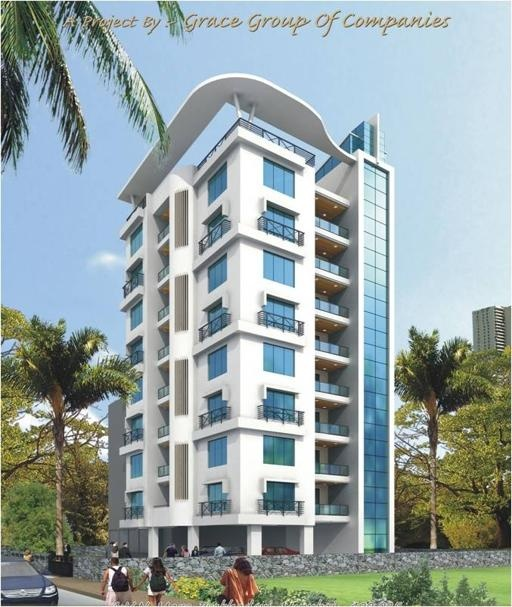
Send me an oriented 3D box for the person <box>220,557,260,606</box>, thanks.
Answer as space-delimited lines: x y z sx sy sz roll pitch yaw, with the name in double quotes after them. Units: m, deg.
-0.451 7.080 25.917 0.891 1.249 0.667 -2 -20 0 "person"
